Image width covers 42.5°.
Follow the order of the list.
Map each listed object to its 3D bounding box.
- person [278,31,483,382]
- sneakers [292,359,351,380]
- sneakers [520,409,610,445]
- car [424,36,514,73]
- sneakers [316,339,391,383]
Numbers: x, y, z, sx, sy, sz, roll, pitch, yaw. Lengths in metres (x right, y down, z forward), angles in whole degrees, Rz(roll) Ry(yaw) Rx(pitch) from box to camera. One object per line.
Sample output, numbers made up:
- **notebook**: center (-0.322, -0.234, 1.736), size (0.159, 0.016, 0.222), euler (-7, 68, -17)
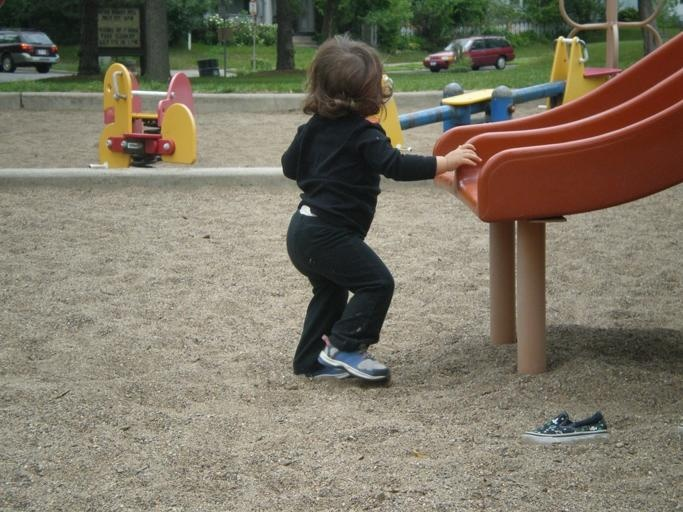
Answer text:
- **person**: center (0.083, -0.186, 3.730), size (0.740, 1.460, 0.346), euler (3, 14, 10)
- **sneakers**: center (-0.076, 0.504, 3.864), size (0.256, 0.105, 0.086), euler (-1, -4, 8)
- **sneakers**: center (0.832, 0.645, 3.285), size (0.315, 0.108, 0.122), euler (-3, -7, 3)
- **car**: center (3.605, -5.767, 24.953), size (2.481, 0.833, 1.172), euler (-4, 6, -32)
- **sneakers**: center (0.063, 0.466, 3.824), size (0.334, 0.150, 0.130), euler (20, -14, 6)
